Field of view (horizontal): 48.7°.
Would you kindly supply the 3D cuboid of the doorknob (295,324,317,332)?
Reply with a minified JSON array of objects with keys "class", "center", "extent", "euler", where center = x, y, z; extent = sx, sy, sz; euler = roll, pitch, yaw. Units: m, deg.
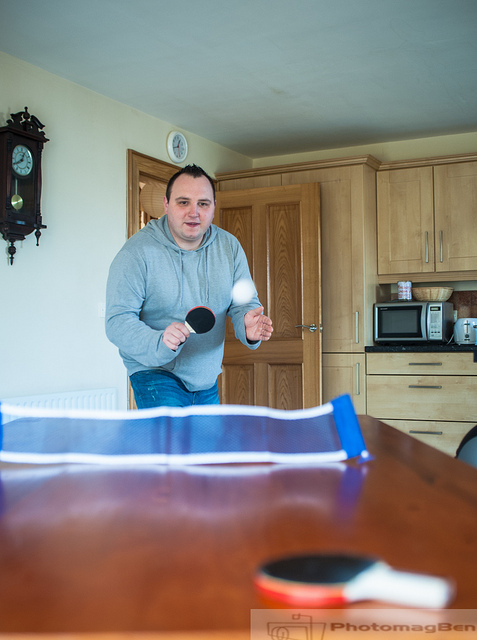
[{"class":"doorknob","center":[0.540,0.066,4.295],"extent":[0.187,0.061,0.048],"euler":[-3,-4,42]}]

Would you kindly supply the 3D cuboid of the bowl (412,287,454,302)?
[{"class":"bowl","center":[1.676,-0.224,4.582],"extent":[0.325,0.121,0.194],"euler":[-1,-3,6]}]

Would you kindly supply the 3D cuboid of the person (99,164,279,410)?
[{"class":"person","center":[-0.162,-0.121,1.671],"extent":[0.516,0.846,0.747],"euler":[-1,-3,3]}]

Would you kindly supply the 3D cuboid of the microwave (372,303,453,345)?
[{"class":"microwave","center":[1.504,0.031,4.442],"extent":[0.575,0.340,0.431],"euler":[-2,-5,41]}]

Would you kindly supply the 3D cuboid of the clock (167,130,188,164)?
[{"class":"clock","center":[-0.510,-1.406,4.260],"extent":[0.054,0.304,0.323],"euler":[-5,8,23]}]

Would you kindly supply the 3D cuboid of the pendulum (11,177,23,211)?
[{"class":"pendulum","center":[-1.224,-0.694,2.910],"extent":[0.013,0.174,0.067],"euler":[-2,-3,20]}]

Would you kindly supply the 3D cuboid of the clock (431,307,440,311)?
[{"class":"clock","center":[1.568,-0.090,4.220],"extent":[0.061,0.026,0.006],"euler":[-2,-3,18]}]
